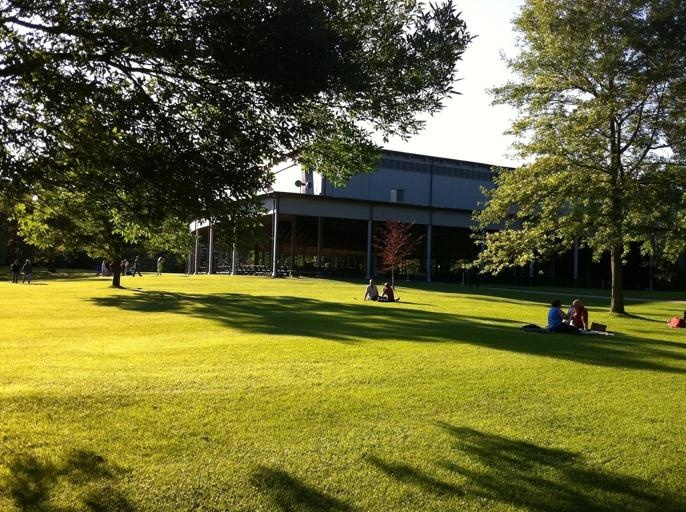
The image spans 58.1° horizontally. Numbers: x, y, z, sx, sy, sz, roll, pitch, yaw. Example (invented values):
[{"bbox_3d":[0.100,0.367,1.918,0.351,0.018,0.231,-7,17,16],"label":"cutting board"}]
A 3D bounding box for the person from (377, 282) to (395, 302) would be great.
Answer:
[{"bbox_3d":[2.170,1.820,30.145,0.817,0.824,0.886,2,2,-23],"label":"person"}]

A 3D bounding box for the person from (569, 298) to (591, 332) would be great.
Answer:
[{"bbox_3d":[8.307,2.073,21.654,0.665,1.358,0.782,10,-13,-7],"label":"person"}]

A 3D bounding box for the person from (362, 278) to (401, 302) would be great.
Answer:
[{"bbox_3d":[1.721,1.879,30.458,1.093,0.789,1.489,1,1,-29],"label":"person"}]

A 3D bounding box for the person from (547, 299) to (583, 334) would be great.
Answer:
[{"bbox_3d":[6.790,1.897,18.923,0.862,1.142,0.726,-3,-17,18],"label":"person"}]
